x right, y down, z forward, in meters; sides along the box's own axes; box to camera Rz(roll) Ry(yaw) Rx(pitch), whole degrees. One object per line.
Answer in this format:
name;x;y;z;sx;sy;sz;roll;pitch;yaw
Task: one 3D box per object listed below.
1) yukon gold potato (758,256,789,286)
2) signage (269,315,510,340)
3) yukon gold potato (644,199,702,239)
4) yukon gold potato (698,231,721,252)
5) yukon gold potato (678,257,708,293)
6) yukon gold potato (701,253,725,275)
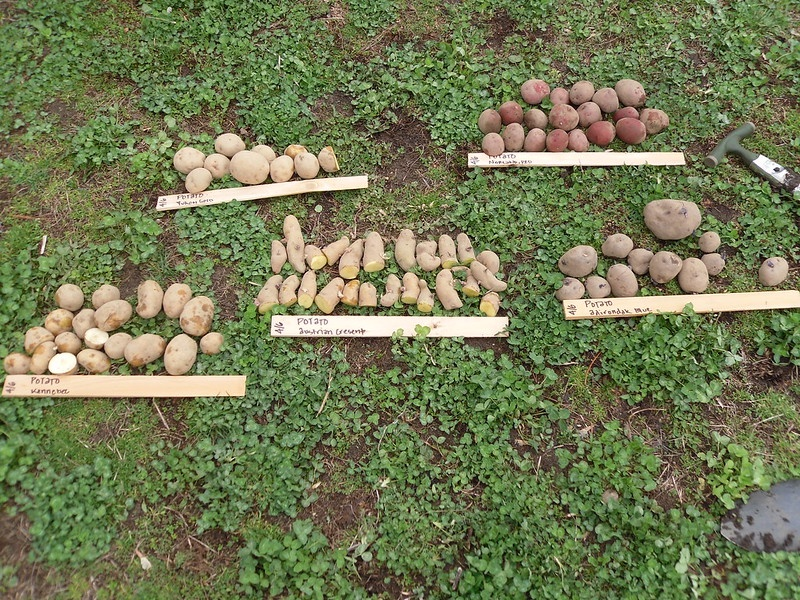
yukon gold potato;3.409;-0.255;5.517;0.195;0.170;0.280;19;52;30
signage;-0.098;0.234;5.346;2.082;0.191;0.185;2;75;-5
yukon gold potato;2.492;-0.764;5.665;0.440;0.162;0.552;46;34;17
yukon gold potato;2.815;-0.528;5.491;0.165;0.098;0.193;-13;80;10
yukon gold potato;2.621;-0.220;5.392;0.208;0.177;0.331;-3;79;5
yukon gold potato;2.841;-0.342;5.477;0.152;0.112;0.217;-1;82;-3
